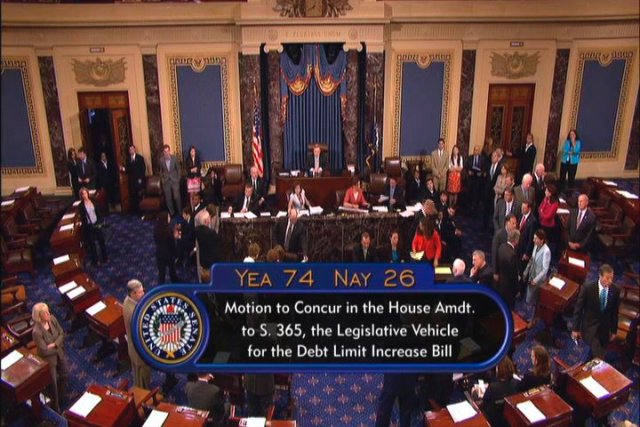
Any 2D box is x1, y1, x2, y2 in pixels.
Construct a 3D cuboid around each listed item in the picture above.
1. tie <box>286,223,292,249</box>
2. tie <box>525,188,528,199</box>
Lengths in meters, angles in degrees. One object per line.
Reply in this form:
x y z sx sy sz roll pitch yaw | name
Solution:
-0.553 0.394 8.342 0.102 0.384 0.139 5 20 23 | tie
4.031 -0.397 9.050 0.077 0.132 0.030 -7 -12 34 | tie
